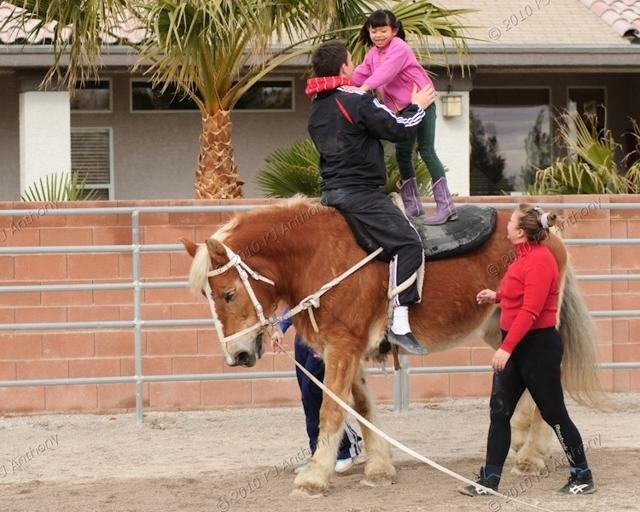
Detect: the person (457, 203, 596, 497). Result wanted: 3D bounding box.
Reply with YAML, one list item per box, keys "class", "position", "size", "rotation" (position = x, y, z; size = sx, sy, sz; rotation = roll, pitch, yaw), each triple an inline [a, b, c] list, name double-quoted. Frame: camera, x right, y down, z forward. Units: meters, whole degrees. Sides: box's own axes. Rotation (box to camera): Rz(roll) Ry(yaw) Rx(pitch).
- class: "person"
  position: [2.050, 0.942, 15.666]
  size: [1.054, 2.863, 0.379]
  rotation: [-2, 3, 8]

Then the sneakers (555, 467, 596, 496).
- class: "sneakers"
  position: [2.547, 2.240, 15.904]
  size: [0.337, 0.262, 0.187]
  rotation: [2, -1, 6]

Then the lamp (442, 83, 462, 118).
- class: "lamp"
  position: [1.751, -2.062, 21.559]
  size: [0.276, 0.407, 0.307]
  rotation: [-8, 1, 44]

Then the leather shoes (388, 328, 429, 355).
- class: "leather shoes"
  position: [0.877, 0.825, 15.846]
  size: [0.345, 0.153, 0.189]
  rotation: [22, 11, 29]

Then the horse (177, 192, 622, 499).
- class: "horse"
  position: [0.883, 0.816, 16.562]
  size: [4.113, 3.158, 1.156]
  rotation: [-6, 14, -6]

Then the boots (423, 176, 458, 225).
- class: "boots"
  position: [1.238, -0.522, 16.281]
  size: [0.460, 0.632, 0.286]
  rotation: [-3, -3, 7]

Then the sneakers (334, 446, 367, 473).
- class: "sneakers"
  position: [0.337, 2.099, 16.523]
  size: [0.145, 0.202, 0.423]
  rotation: [-11, 5, 32]
